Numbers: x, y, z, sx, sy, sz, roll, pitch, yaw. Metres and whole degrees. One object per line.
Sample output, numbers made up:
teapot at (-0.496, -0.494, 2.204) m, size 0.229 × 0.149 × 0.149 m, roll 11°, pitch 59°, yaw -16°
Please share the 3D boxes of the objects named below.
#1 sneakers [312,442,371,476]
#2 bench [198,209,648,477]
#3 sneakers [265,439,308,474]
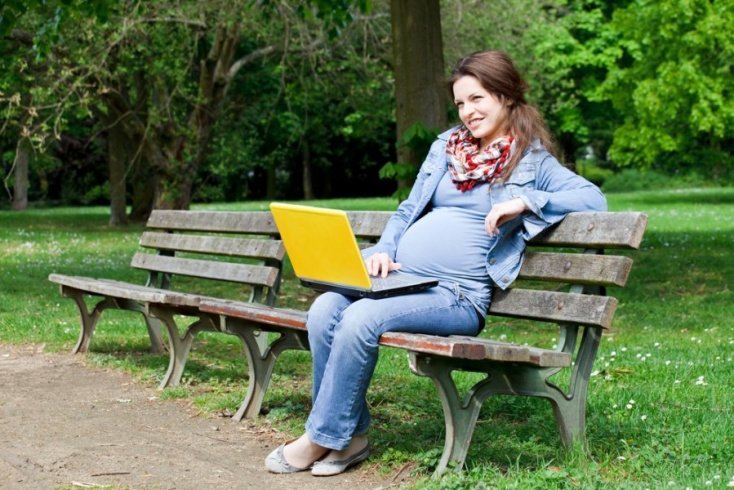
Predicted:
sneakers at (-0.200, 1.669, 6.839) m, size 0.420 × 0.096 × 0.174 m, roll -17°, pitch 8°, yaw -33°
bench at (0.270, 0.609, 7.287) m, size 3.683 × 1.999 × 1.576 m, roll 5°, pitch 7°, yaw 19°
sneakers at (-0.642, 1.663, 6.798) m, size 0.353 × 0.082 × 0.167 m, roll -6°, pitch 49°, yaw -6°
